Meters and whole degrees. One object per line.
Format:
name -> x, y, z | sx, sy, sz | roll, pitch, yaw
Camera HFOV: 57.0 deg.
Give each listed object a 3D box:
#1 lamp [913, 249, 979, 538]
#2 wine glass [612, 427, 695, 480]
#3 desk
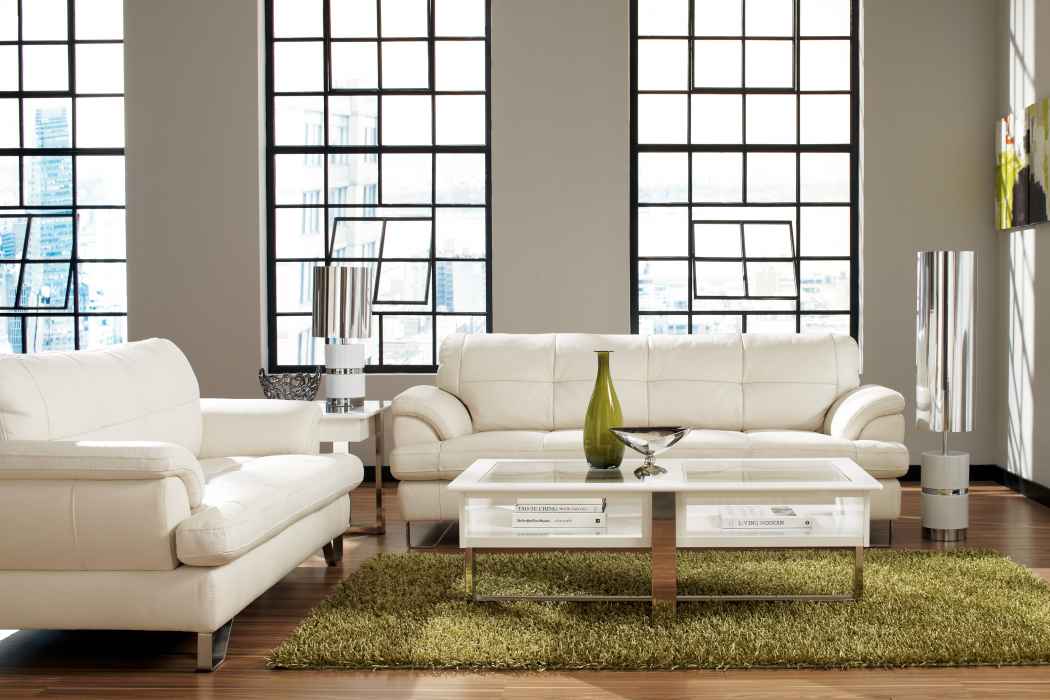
lamp -> 2.395, 0.131, 5.733 | 0.348, 1.724, 0.342 | -28, 29, -32
wine glass -> 0.615, 0.442, 4.809 | 0.412, 0.220, 0.222 | 0, 0, 3
desk -> -0.941, 0.641, 5.943 | 0.662, 0.849, 0.933 | 0, 1, 1
